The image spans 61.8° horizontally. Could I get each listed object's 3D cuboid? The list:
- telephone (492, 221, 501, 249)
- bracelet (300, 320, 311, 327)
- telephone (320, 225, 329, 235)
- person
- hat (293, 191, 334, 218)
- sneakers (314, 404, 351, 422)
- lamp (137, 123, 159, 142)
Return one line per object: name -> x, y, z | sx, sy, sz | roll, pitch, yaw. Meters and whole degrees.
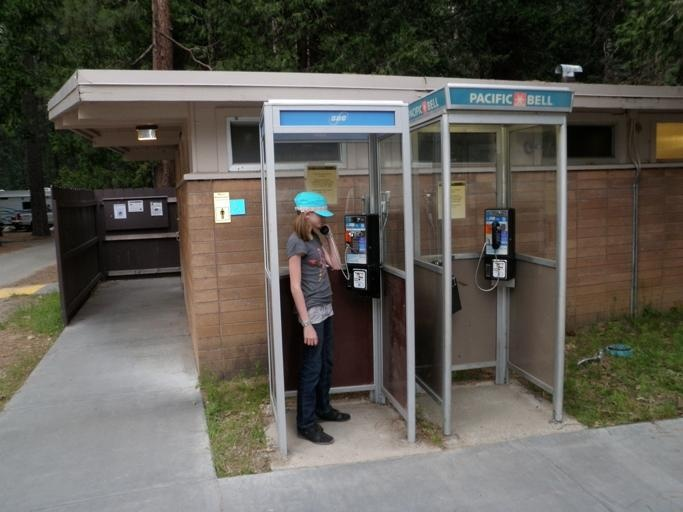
telephone -> 1.835, -0.232, 6.759 | 0.098, 0.322, 0.065 | 0, 12, 9
bracelet -> -0.358, 0.675, 5.766 | 0.101, 0.073, 0.080 | -3, 13, -4
telephone -> -0.168, -0.263, 5.855 | 0.074, 0.084, 0.084 | -5, 1, -7
person -> -0.238, 0.614, 6.013 | 0.551, 2.539, 0.807 | 1, 12, 13
hat -> -0.284, -0.531, 5.883 | 0.317, 0.190, 0.253 | 4, 6, -2
sneakers -> -0.088, 1.765, 6.373 | 0.368, 0.178, 0.155 | -2, 1, -9
lamp -> -2.801, -1.794, 8.260 | 0.263, 0.213, 0.289 | -7, 14, -20
